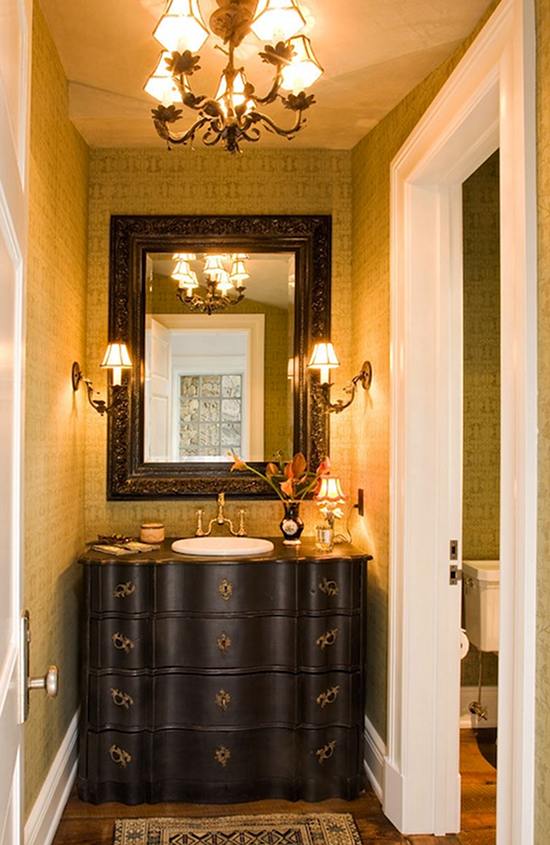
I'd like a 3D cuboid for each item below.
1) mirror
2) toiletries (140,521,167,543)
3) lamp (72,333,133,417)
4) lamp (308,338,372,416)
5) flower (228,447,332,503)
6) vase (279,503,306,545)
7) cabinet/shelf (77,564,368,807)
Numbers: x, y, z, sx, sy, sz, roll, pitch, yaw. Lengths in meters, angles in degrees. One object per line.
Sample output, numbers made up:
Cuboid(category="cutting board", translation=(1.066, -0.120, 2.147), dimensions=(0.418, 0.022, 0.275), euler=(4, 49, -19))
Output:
Cuboid(category="mirror", translation=(-0.296, -0.302, 3.138), dimensions=(1.142, 1.691, 0.063), euler=(0, -3, -7))
Cuboid(category="toiletries", translation=(-0.517, 0.458, 2.870), dimensions=(0.076, 0.056, 0.083), euler=(5, -2, 0))
Cuboid(category="lamp", translation=(-0.712, -0.189, 2.938), dimensions=(0.329, 0.442, 0.209), euler=(-1, 0, 10))
Cuboid(category="lamp", translation=(0.247, -0.188, 3.015), dimensions=(0.333, 0.445, 0.211), euler=(2, -3, -24))
Cuboid(category="flower", translation=(0.027, 0.240, 2.991), dimensions=(0.306, 0.188, 0.256), euler=(4, -28, 16))
Cuboid(category="vase", translation=(0.069, 0.424, 2.854), dimensions=(0.134, 0.215, 0.146), euler=(3, -5, -21))
Cuboid(category="cabinet/shelf", translation=(-0.231, 1.004, 2.550), dimensions=(0.749, 0.742, 0.346), euler=(0, -4, -1))
